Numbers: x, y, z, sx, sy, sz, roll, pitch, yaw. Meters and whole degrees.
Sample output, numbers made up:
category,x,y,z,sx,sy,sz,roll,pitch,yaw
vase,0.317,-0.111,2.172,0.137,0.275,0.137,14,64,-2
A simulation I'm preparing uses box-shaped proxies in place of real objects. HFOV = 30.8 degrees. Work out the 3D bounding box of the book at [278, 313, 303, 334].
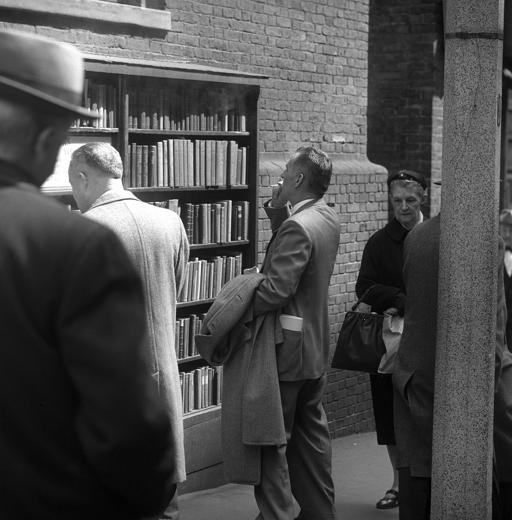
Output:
category,x,y,z,sx,sy,sz,roll,pitch,yaw
book,0.161,0.297,4.293,0.117,0.094,0.068,9,-10,13
